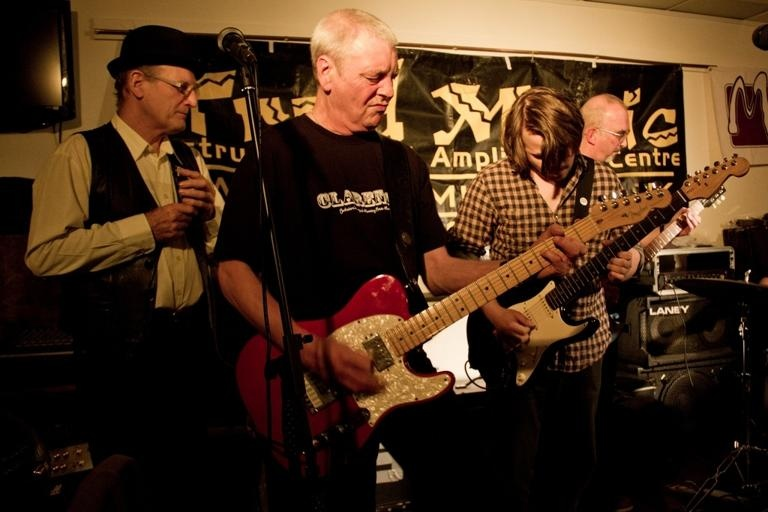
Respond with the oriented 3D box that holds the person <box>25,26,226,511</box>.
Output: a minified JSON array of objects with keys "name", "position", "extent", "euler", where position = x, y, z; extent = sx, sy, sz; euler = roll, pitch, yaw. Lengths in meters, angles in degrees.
[{"name":"person","position":[-1.457,0.039,3.394],"extent":[0.945,2.695,0.805],"euler":[-3,11,-9]}]

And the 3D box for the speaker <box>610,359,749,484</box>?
[{"name":"speaker","position":[2.415,1.347,4.912],"extent":[0.936,1.290,0.863],"euler":[5,-6,-26]}]

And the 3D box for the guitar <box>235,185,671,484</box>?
[{"name":"guitar","position":[0.373,0.465,3.439],"extent":[2.094,0.637,0.256],"euler":[-33,3,-17]}]

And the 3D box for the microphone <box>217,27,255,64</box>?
[{"name":"microphone","position":[-0.731,-1.046,2.932],"extent":[0.134,0.187,0.183],"euler":[-10,15,-40]}]

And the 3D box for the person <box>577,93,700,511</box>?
[{"name":"person","position":[1.887,0.487,4.410],"extent":[1.209,3.018,0.329],"euler":[-3,7,45]}]

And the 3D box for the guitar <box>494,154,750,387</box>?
[{"name":"guitar","position":[1.647,0.177,4.125],"extent":[2.020,0.624,0.268],"euler":[-42,23,-5]}]
